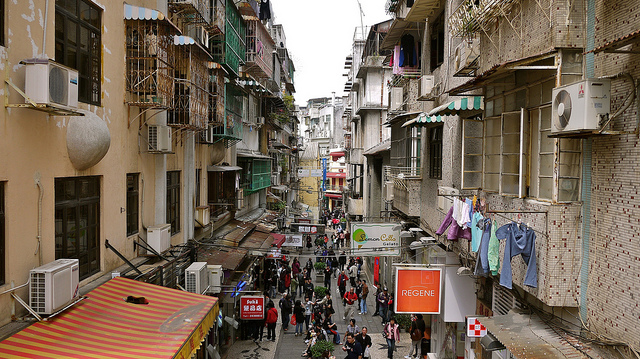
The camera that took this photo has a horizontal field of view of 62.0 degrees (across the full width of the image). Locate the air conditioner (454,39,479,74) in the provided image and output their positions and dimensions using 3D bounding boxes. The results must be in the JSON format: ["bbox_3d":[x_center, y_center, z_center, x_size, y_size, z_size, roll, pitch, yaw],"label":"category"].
[{"bbox_3d":[4.723,-4.235,17.689,0.376,1.092,0.991,-25,-25,6],"label":"air conditioner"}]

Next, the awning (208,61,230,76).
[{"bbox_3d":[-4.068,-4.445,20.953,0.674,0.189,0.670,2,-7,29],"label":"awning"}]

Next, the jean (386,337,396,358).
[{"bbox_3d":[2.716,6.360,20.269,0.239,0.714,0.396,-2,-14,7],"label":"jean"}]

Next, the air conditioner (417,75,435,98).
[{"bbox_3d":[4.073,-3.555,20.432,0.515,0.931,0.749,-1,-14,2],"label":"air conditioner"}]

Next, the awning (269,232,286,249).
[{"bbox_3d":[-2.176,2.968,27.267,0.741,0.789,1.111,3,-15,-12],"label":"awning"}]

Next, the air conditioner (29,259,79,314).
[{"bbox_3d":[-6.668,2.651,13.490,0.606,1.082,1.562,1,2,-1],"label":"air conditioner"}]

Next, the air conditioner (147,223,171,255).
[{"bbox_3d":[-5.340,1.945,17.623,0.366,0.668,1.034,0,0,-2],"label":"air conditioner"}]

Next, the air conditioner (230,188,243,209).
[{"bbox_3d":[-4.187,0.907,26.770,0.623,1.009,0.326,8,-16,-29],"label":"air conditioner"}]

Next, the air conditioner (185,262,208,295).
[{"bbox_3d":[-4.094,3.302,17.741,0.378,0.842,1.006,-1,5,4],"label":"air conditioner"}]

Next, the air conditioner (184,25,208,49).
[{"bbox_3d":[-4.938,-5.530,21.581,0.683,1.287,1.321,-1,-2,4],"label":"air conditioner"}]

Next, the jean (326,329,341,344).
[{"bbox_3d":[0.612,6.516,22.217,0.413,0.564,1.234,-3,-15,9],"label":"jean"}]

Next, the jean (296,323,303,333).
[{"bbox_3d":[-0.896,6.436,23.289,0.258,0.392,0.693,1,-15,-4],"label":"jean"}]

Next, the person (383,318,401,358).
[{"bbox_3d":[2.743,6.048,20.447,0.537,1.441,0.800,-2,-14,6],"label":"person"}]

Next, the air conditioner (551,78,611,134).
[{"bbox_3d":[6.079,-1.673,12.354,0.690,1.217,1.290,3,-3,-15],"label":"air conditioner"}]

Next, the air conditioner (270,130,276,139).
[{"bbox_3d":[-3.835,-3.645,43.192,0.516,0.966,0.986,0,-1,5],"label":"air conditioner"}]

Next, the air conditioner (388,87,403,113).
[{"bbox_3d":[3.399,-3.545,23.882,0.681,1.230,1.302,0,-3,-2],"label":"air conditioner"}]

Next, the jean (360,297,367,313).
[{"bbox_3d":[2.141,6.047,25.780,0.380,0.664,0.394,5,-15,-21],"label":"jean"}]

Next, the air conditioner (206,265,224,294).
[{"bbox_3d":[-3.816,3.445,18.696,0.792,1.081,1.080,0,-4,-3],"label":"air conditioner"}]
